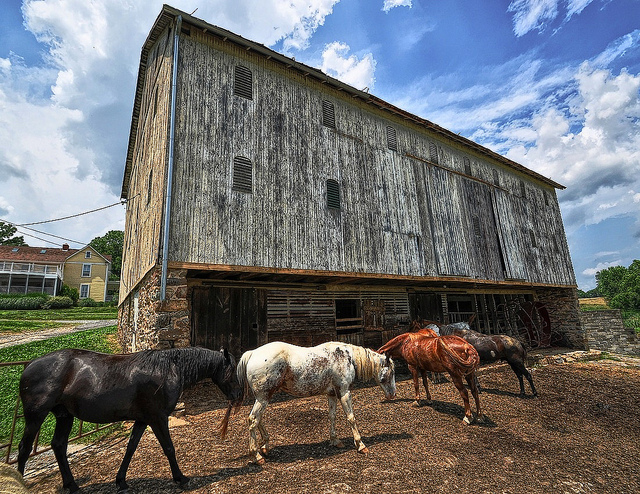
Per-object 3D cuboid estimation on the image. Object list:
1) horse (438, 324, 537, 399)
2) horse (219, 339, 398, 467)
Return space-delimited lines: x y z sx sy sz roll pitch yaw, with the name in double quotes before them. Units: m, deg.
"horse" 5.161 3.529 10.358 2.960 1.834 0.732 6 -23 7
"horse" -0.076 3.191 6.904 3.762 2.128 0.972 5 -18 -14
